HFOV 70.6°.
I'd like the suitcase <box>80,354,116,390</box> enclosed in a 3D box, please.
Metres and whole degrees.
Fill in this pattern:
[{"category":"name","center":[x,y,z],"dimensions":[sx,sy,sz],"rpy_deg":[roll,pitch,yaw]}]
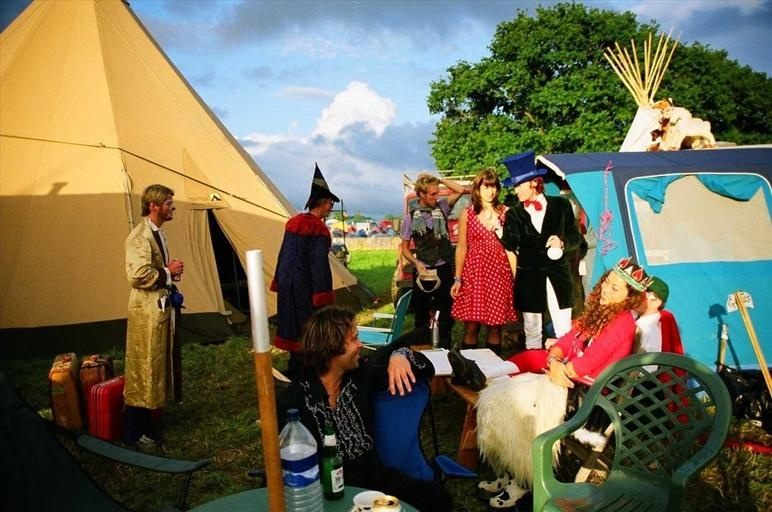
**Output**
[{"category":"suitcase","center":[-3.557,1.456,6.716],"dimensions":[0.287,0.468,0.249],"rpy_deg":[6,15,-2]}]

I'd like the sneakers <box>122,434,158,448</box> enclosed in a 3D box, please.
[{"category":"sneakers","center":[-2.819,2.142,6.237],"dimensions":[0.430,0.196,0.151],"rpy_deg":[2,2,-7]}]

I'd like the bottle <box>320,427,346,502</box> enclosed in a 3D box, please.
[{"category":"bottle","center":[-0.405,1.530,4.059],"dimensions":[0.172,0.549,0.167],"rpy_deg":[-2,0,0]}]
